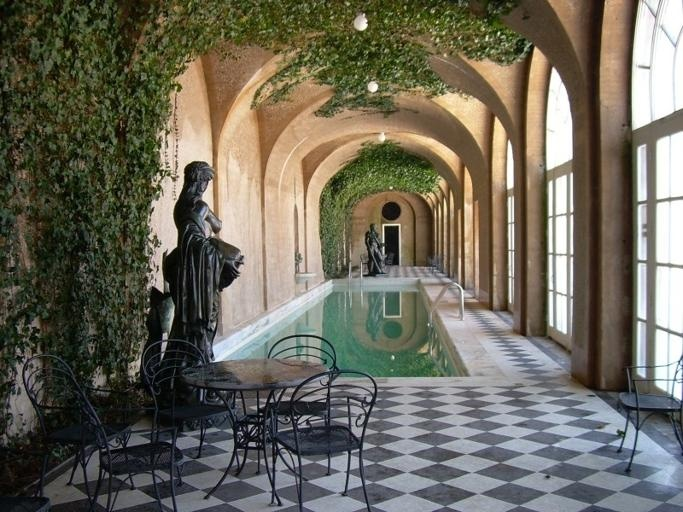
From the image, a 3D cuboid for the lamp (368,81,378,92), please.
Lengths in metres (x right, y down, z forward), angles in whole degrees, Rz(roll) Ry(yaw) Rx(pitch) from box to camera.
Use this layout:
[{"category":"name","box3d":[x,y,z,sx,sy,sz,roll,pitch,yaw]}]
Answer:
[{"category":"lamp","box3d":[0.638,-3.505,10.431,0.199,0.203,0.111,9,33,-17]}]
